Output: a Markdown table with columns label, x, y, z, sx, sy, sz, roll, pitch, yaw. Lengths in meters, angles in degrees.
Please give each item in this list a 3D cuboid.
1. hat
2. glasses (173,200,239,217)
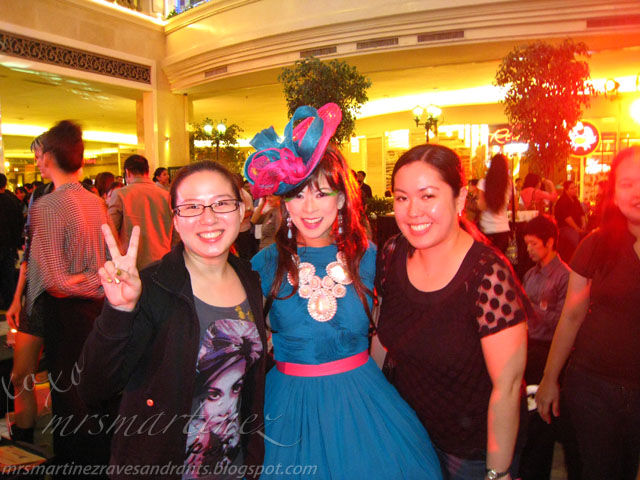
| label | x | y | z | sx | sy | sz | roll | pitch | yaw |
| --- | --- | --- | --- | --- | --- | --- | --- | --- | --- |
| hat | -0.148 | -0.496 | 2.500 | 0.665 | 0.265 | 0.491 | -43 | 29 | -22 |
| glasses | -0.512 | -0.144 | 2.086 | 0.285 | 0.070 | 0.073 | -6 | 12 | -15 |
